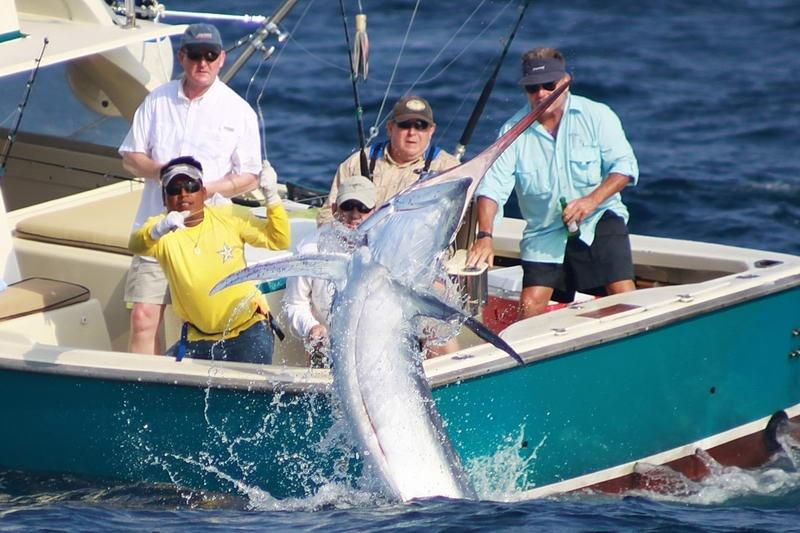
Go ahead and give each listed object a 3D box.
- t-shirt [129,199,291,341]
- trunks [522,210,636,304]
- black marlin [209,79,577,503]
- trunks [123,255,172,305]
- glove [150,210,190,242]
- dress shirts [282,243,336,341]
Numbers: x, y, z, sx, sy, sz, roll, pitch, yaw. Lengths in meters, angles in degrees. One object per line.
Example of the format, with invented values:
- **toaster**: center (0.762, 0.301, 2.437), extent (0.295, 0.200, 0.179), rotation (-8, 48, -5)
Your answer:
- **t-shirt**: center (-1.232, 0.018, 10.222), extent (1.185, 0.909, 0.596), rotation (-10, 11, -26)
- **trunks**: center (1.273, 0.025, 11.070), extent (0.871, 0.464, 0.738), rotation (-9, 47, 22)
- **black marlin**: center (0.006, 0.169, 9.315), extent (1.464, 2.614, 0.490), rotation (12, 29, 0)
- **trunks**: center (-1.643, 0.093, 10.509), extent (0.261, 0.186, 0.317), rotation (-12, 58, 4)
- **glove**: center (-1.456, -0.264, 10.128), extent (0.201, 0.216, 0.162), rotation (14, 29, 5)
- **dress shirts**: center (-0.587, 0.167, 10.273), extent (0.386, 0.584, 0.228), rotation (5, 2, 9)
